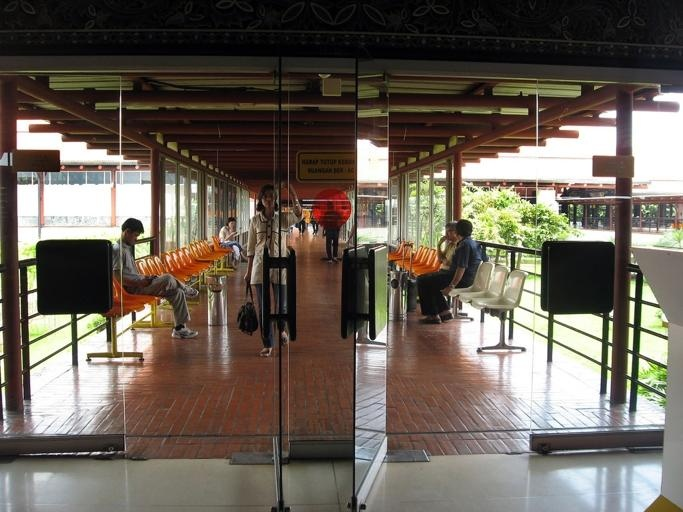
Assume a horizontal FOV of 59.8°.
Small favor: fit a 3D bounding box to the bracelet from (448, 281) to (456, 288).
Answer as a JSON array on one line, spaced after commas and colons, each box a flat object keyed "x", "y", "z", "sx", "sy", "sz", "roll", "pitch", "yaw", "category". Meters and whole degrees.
[{"x": 1.383, "y": 0.353, "z": 7.439, "sx": 0.120, "sy": 0.037, "sz": 0.089, "roll": -2, "pitch": 12, "yaw": 20, "category": "bracelet"}]

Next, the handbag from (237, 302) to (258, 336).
[{"x": -0.739, "y": 0.468, "z": 4.728, "sx": 0.138, "sy": 0.273, "sz": 0.246, "roll": 1, "pitch": 4, "yaw": 5, "category": "handbag"}]

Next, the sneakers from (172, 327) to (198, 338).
[{"x": -1.641, "y": 0.798, "z": 6.249, "sx": 0.234, "sy": 0.110, "sz": 0.095, "roll": -1, "pitch": 5, "yaw": -18, "category": "sneakers"}]

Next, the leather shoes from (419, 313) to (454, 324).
[{"x": 1.277, "y": 0.803, "z": 7.977, "sx": 0.434, "sy": 0.177, "sz": 0.156, "roll": -3, "pitch": 0, "yaw": -11, "category": "leather shoes"}]

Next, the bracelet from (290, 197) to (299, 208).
[{"x": -0.277, "y": -0.321, "z": 3.522, "sx": 0.043, "sy": 0.049, "sz": 0.056, "roll": -1, "pitch": -21, "yaw": -2, "category": "bracelet"}]

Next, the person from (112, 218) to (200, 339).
[{"x": -1.792, "y": 0.217, "z": 5.578, "sx": 0.933, "sy": 1.494, "sz": 0.703, "roll": -3, "pitch": 0, "yaw": -14, "category": "person"}]
